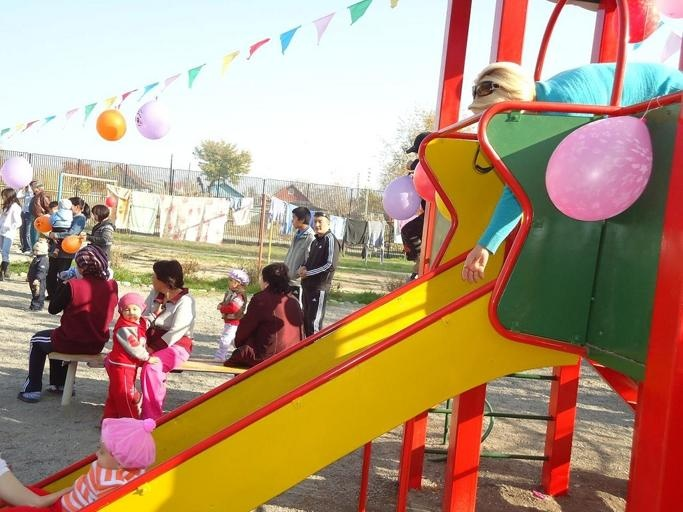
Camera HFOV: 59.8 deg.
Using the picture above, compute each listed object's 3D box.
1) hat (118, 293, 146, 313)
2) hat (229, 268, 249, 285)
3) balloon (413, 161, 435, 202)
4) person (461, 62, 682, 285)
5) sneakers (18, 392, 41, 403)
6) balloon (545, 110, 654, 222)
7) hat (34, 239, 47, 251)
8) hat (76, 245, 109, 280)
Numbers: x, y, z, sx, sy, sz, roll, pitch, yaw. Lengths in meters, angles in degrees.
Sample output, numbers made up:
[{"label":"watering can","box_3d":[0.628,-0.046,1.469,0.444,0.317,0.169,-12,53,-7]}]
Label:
[{"label":"hat","box_3d":[-1.676,0.346,4.722,0.150,0.196,0.218,-6,1,-9]},{"label":"hat","box_3d":[-1.188,0.253,6.747,0.220,0.129,0.167,28,16,-8]},{"label":"balloon","box_3d":[0.603,-0.539,4.370,0.202,0.299,0.225,-4,6,3]},{"label":"person","box_3d":[1.116,-0.391,2.776,1.214,0.637,0.357,-41,18,-10]},{"label":"sneakers","box_3d":[-2.858,1.275,5.402,0.178,0.092,0.085,12,15,0]},{"label":"balloon","box_3d":[1.174,-0.362,2.732,0.376,0.449,0.256,40,11,18]},{"label":"hat","box_3d":[-4.699,-0.164,9.162,0.151,0.212,0.216,0,17,-6]},{"label":"hat","box_3d":[-2.224,0.052,5.308,0.225,0.328,0.324,3,33,-20]}]
